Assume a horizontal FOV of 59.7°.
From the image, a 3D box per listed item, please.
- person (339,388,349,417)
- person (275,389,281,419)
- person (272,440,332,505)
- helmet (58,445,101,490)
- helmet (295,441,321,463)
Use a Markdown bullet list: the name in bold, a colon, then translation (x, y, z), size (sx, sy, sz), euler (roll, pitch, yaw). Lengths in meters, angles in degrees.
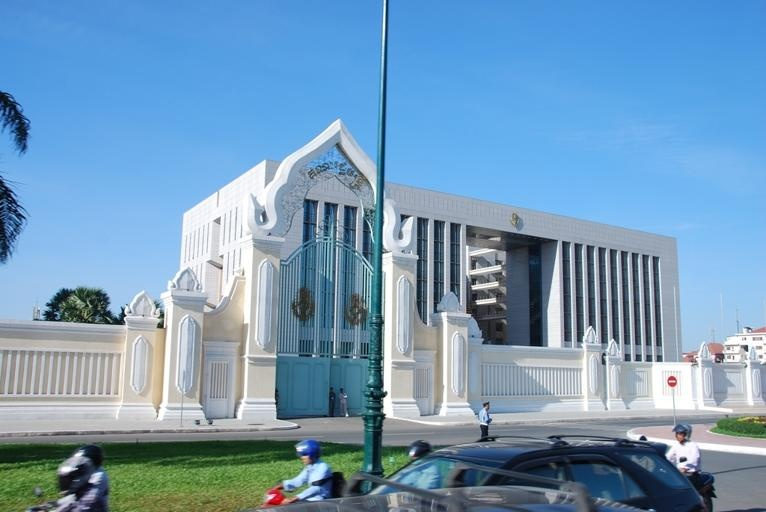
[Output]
- **person**: translation (-1.694, 6.512, 29.822), size (0.345, 1.213, 0.633), euler (-9, -15, 32)
- **person**: translation (-4.490, 6.238, 28.411), size (0.183, 1.215, 0.407), euler (1, -13, -10)
- **person**: translation (-1.408, 3.519, 10.874), size (1.034, 1.273, 0.838), euler (5, -23, -11)
- **helmet**: translation (-4.369, 3.056, 9.605), size (0.569, 0.626, 0.298), euler (5, -14, -26)
- **helmet**: translation (-1.190, 3.061, 10.567), size (0.393, 0.307, 0.296), euler (20, -17, 5)
